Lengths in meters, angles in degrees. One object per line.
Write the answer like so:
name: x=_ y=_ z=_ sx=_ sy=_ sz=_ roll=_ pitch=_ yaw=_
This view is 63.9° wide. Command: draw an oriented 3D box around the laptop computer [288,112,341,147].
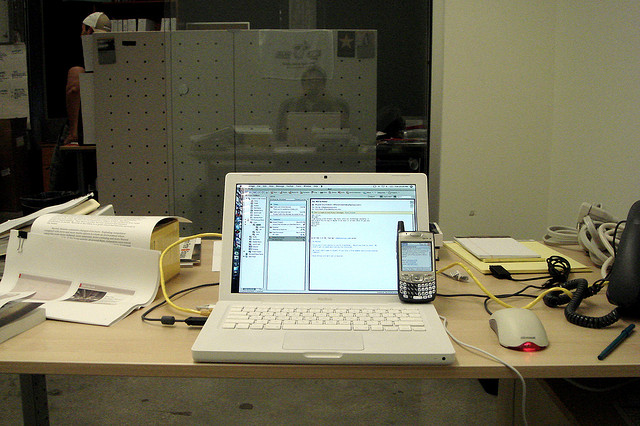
laptop computer: x=-0.070 y=-0.530 z=3.288 sx=0.344 sy=0.196 sz=0.060 roll=-3 pitch=7 yaw=-1

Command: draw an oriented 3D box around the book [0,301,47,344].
book: x=-0.968 y=0.333 z=1.634 sx=0.079 sy=0.092 sz=0.146 roll=10 pitch=18 yaw=34

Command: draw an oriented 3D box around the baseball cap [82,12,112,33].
baseball cap: x=-1.467 y=-1.257 z=3.390 sx=0.157 sy=0.138 sz=0.231 roll=-8 pitch=16 yaw=-25

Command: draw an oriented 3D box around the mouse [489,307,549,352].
mouse: x=0.633 y=0.340 z=1.650 sx=0.183 sy=0.077 sz=0.244 roll=4 pitch=15 yaw=9

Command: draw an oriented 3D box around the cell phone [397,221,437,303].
cell phone: x=0.319 y=0.175 z=1.701 sx=0.118 sy=0.220 sz=0.105 roll=0 pitch=16 yaw=5

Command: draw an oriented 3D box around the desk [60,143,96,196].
desk: x=-1.847 y=-0.324 z=3.752 sx=0.330 sy=0.256 sz=0.308 roll=10 pitch=-8 yaw=-25
